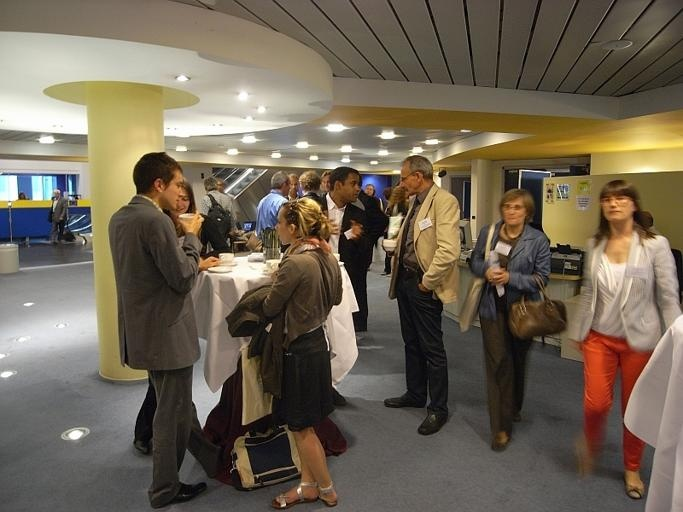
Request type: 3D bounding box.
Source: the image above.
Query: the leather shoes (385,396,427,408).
[{"bbox_3d":[0.547,1.220,3.600,0.345,0.129,0.128,4,-5,5],"label":"leather shoes"}]

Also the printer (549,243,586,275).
[{"bbox_3d":[2.619,0.037,4.829,0.498,0.324,0.511,3,7,32],"label":"printer"}]

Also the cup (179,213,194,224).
[{"bbox_3d":[-0.983,-0.248,2.649,0.079,0.060,0.080,1,10,0],"label":"cup"}]

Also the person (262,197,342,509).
[{"bbox_3d":[-0.213,0.574,2.398,0.415,1.788,0.362,0,9,-2],"label":"person"}]

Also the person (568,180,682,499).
[{"bbox_3d":[1.760,0.474,2.614,0.528,1.877,0.384,5,10,31],"label":"person"}]

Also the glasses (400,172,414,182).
[{"bbox_3d":[0.520,-0.627,3.266,0.092,0.051,0.071,-11,7,-14],"label":"glasses"}]

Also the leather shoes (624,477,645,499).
[{"bbox_3d":[1.755,1.389,2.507,0.063,0.073,0.175,-6,-10,20],"label":"leather shoes"}]

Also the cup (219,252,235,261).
[{"bbox_3d":[-0.845,0.004,3.103,0.070,0.046,0.072,-4,3,0],"label":"cup"}]

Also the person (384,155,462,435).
[{"bbox_3d":[0.655,0.258,3.302,0.417,2.096,0.611,-4,10,-28],"label":"person"}]

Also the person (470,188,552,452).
[{"bbox_3d":[1.210,0.429,3.070,0.529,1.821,0.459,-4,10,-27],"label":"person"}]

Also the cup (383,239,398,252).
[{"bbox_3d":[0.579,-0.130,4.729,0.187,0.142,0.203,0,1,0],"label":"cup"}]

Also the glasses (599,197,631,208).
[{"bbox_3d":[1.665,-0.327,2.529,0.161,0.076,0.064,6,10,31],"label":"glasses"}]

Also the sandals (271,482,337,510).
[{"bbox_3d":[-0.212,1.400,2.434,0.365,0.137,0.166,3,-5,-3],"label":"sandals"}]

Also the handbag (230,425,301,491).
[{"bbox_3d":[-0.470,1.296,2.637,0.478,0.212,0.403,-7,48,-20],"label":"handbag"}]

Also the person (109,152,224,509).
[{"bbox_3d":[-1.043,0.434,2.431,0.493,2.047,0.450,-2,9,-11],"label":"person"}]

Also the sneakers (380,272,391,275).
[{"bbox_3d":[0.967,0.382,9.094,0.197,0.079,0.071,3,-4,-31],"label":"sneakers"}]

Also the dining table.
[{"bbox_3d":[-0.476,0.694,3.206,1.218,1.282,1.320,4,17,8],"label":"dining table"}]

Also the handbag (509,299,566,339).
[{"bbox_3d":[1.311,0.416,2.808,0.263,0.242,0.101,-4,-4,0],"label":"handbag"}]

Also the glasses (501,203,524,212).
[{"bbox_3d":[1.204,-0.344,2.927,0.140,0.055,0.065,4,10,21],"label":"glasses"}]
